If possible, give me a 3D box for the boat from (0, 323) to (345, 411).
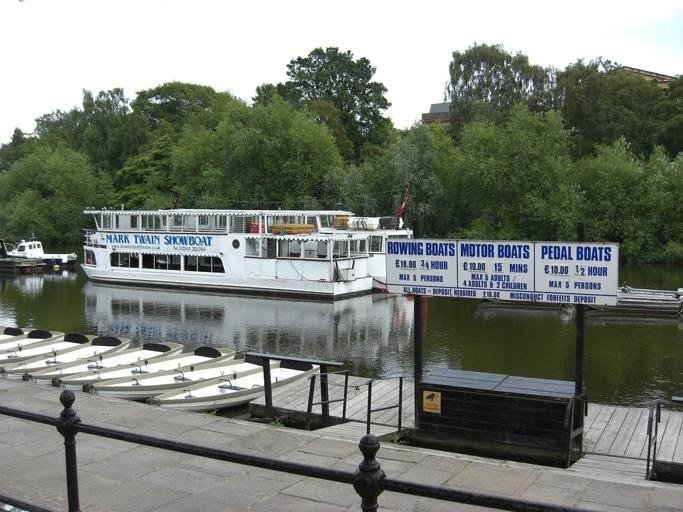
[{"bbox_3d":[-3.805,3.390,22.136,6.058,1.766,4.613,-2,-1,7],"label":"boat"}]
